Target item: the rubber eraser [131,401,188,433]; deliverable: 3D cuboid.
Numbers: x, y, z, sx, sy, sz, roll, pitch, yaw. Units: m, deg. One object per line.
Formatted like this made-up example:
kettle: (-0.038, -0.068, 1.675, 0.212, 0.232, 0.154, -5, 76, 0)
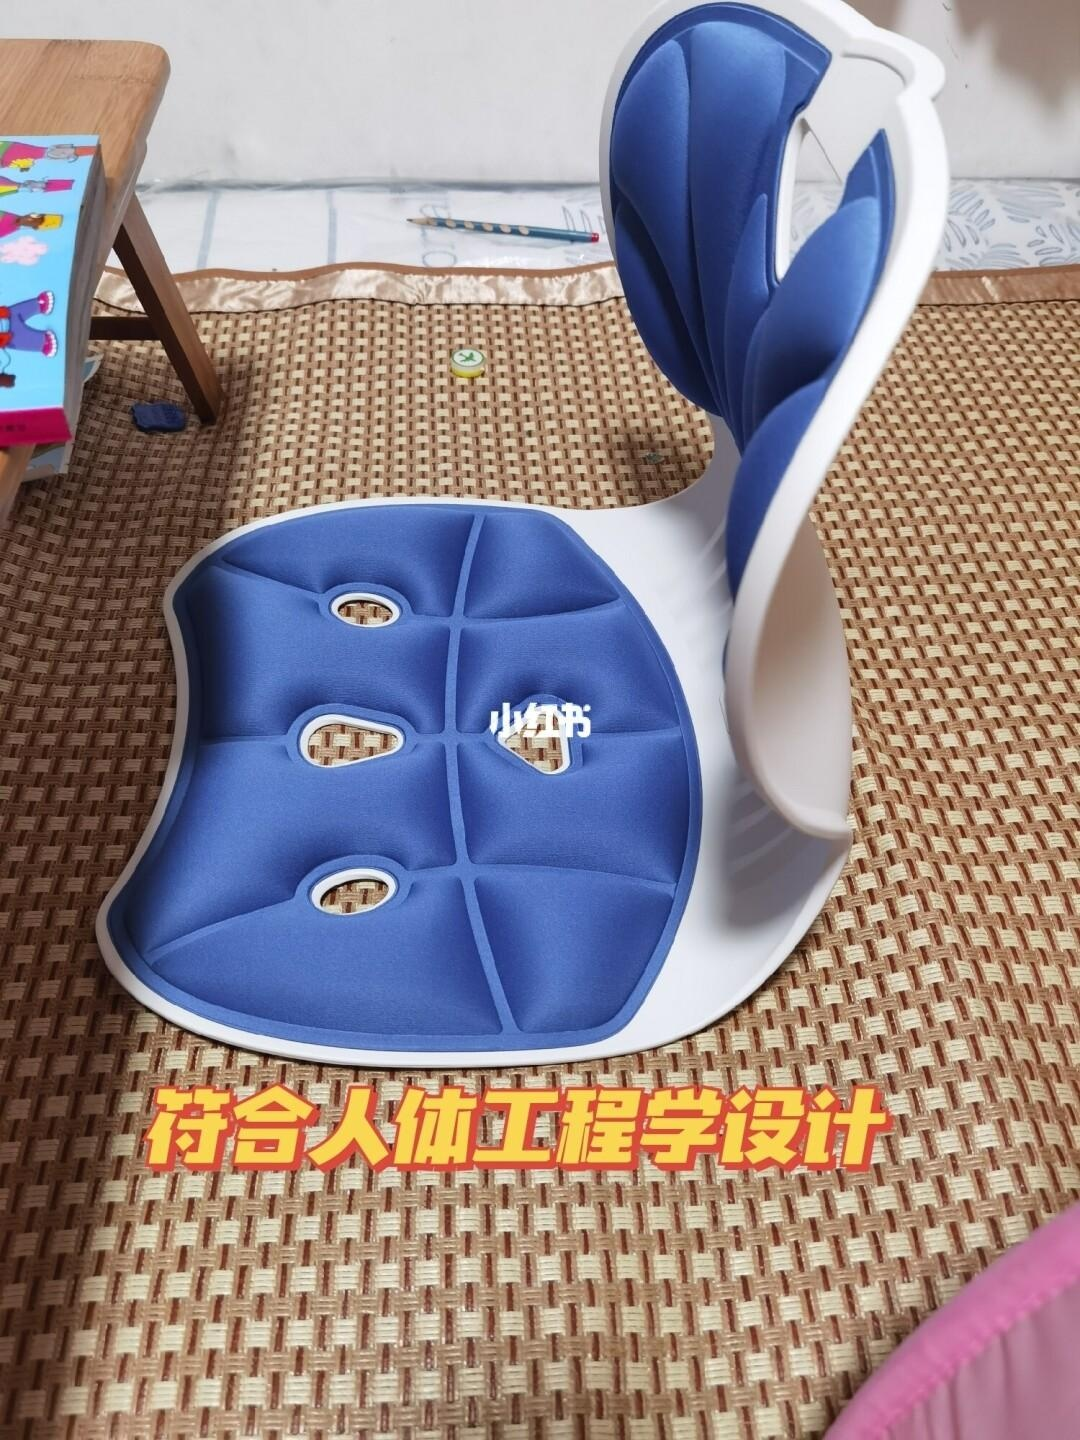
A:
rubber eraser: (-0.514, -0.407, 1.503, 0.051, 0.016, 0.052, -2, 46, -14)
